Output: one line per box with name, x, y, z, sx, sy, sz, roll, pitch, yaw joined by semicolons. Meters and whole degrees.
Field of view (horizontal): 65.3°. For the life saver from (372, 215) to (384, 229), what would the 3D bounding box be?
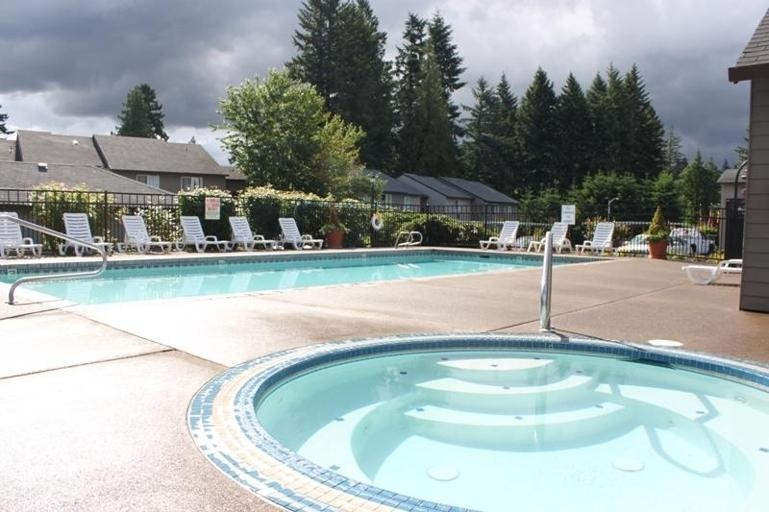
life saver;-0.332;-1.271;22.297;0.174;0.537;0.416;-12;-6;36
